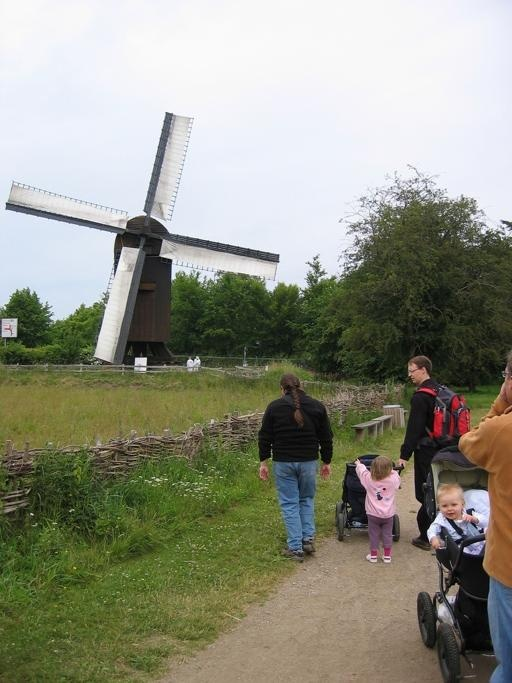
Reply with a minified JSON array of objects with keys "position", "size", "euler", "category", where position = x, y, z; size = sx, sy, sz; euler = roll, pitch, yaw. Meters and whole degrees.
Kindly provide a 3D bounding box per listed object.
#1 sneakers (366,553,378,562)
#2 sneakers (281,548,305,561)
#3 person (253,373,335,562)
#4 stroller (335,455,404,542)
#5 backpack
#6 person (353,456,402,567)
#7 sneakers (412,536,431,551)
[{"position":[1.054,1.977,5.671],"size":[0.103,0.083,0.185],"euler":[3,0,10],"category":"sneakers"},{"position":[0.336,1.965,5.741],"size":[0.188,0.087,0.088],"euler":[10,-2,41],"category":"sneakers"},{"position":[0.356,1.167,5.858],"size":[0.696,1.703,0.413],"euler":[3,0,-1],"category":"person"},{"position":[1.182,1.596,6.485],"size":[0.618,0.921,0.962],"euler":[4,-3,13],"category":"stroller"},{"position":[1.758,0.709,5.865],"size":[0.474,0.526,0.545],"euler":[-1,1,-19],"category":"backpack"},{"position":[1.110,1.551,5.821],"size":[0.394,0.982,0.492],"euler":[3,0,9],"category":"person"},{"position":[1.604,1.976,6.062],"size":[0.072,0.076,0.170],"euler":[1,14,-43],"category":"sneakers"}]
